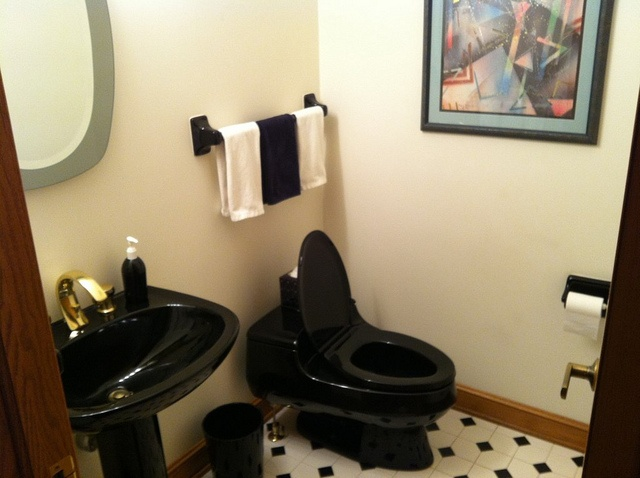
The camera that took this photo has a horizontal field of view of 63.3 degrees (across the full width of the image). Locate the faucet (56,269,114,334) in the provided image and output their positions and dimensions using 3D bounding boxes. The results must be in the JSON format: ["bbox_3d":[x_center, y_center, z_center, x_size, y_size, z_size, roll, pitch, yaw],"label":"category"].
[{"bbox_3d":[-0.733,0.178,1.619,0.163,0.182,0.264,-11,19,-24],"label":"faucet"}]

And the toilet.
[{"bbox_3d":[0.185,0.411,2.682,1.026,1.330,0.770,8,21,25],"label":"toilet"}]

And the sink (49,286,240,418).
[{"bbox_3d":[-0.491,0.361,1.561,0.517,0.185,0.377,-14,20,-31],"label":"sink"}]

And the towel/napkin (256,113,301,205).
[{"bbox_3d":[-0.183,-0.343,2.157,0.074,0.365,0.274,13,26,29],"label":"towel/napkin"}]

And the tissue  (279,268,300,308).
[{"bbox_3d":[-0.121,0.222,2.379,0.120,0.150,0.130,2,23,10],"label":"tissue "}]

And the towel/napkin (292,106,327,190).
[{"bbox_3d":[-0.055,-0.410,2.313,0.072,0.414,0.251,13,28,30],"label":"towel/napkin"}]

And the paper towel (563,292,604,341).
[{"bbox_3d":[1.076,0.293,2.111,0.145,0.174,0.093,11,34,32],"label":"paper towel"}]

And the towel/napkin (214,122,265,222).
[{"bbox_3d":[-0.320,-0.261,2.077,0.185,0.387,0.136,-11,18,-26],"label":"towel/napkin"}]
